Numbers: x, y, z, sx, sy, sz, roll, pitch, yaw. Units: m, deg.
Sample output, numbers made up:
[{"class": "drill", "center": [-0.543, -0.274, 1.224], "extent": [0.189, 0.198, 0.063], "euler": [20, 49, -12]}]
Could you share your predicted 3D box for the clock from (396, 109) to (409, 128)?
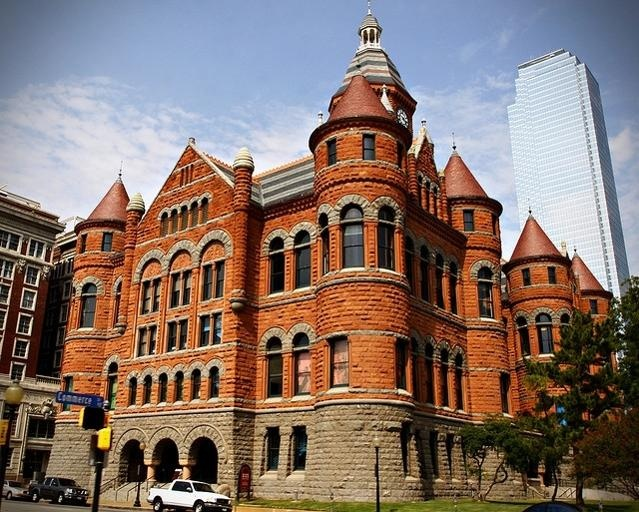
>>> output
[{"class": "clock", "center": [6.754, -11.249, 53.445], "extent": [0.324, 1.728, 2.332], "euler": [-9, -26, 23]}]

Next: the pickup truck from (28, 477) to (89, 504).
[{"class": "pickup truck", "center": [-16.549, 14.931, 42.114], "extent": [3.564, 1.352, 1.753], "euler": [-22, -38, 34]}]

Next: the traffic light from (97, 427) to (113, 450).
[{"class": "traffic light", "center": [-6.867, 5.740, 21.114], "extent": [0.441, 0.744, 0.732], "euler": [9, -25, -17]}]

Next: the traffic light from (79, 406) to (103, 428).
[{"class": "traffic light", "center": [-7.229, 5.090, 21.041], "extent": [0.416, 0.817, 0.826], "euler": [-17, -25, 41]}]
